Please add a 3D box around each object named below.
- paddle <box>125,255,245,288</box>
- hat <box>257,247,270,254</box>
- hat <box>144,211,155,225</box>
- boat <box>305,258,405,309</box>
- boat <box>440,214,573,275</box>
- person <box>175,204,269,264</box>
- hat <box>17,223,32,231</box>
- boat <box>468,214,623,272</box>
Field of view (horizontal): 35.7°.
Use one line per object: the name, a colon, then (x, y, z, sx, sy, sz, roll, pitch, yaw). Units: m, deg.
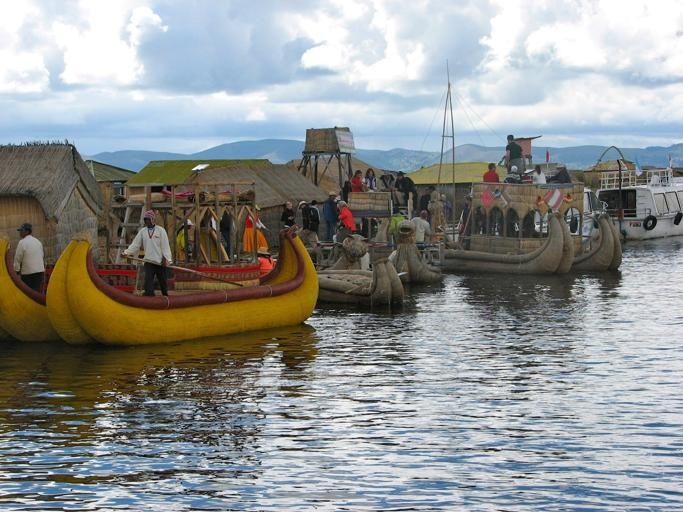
paddle: (-3.275, 0.344, 21.944, 1.829, 0.230, 0.131, 17, 33, 15)
hat: (-1.853, -0.118, 25.292, 0.353, 0.096, 0.344, 7, 5, 28)
hat: (-3.731, -0.741, 20.747, 0.247, 0.275, 0.308, 1, -8, -3)
boat: (0.398, 0.593, 25.761, 1.515, 1.201, 2.155, -9, 13, -42)
boat: (5.500, -0.246, 33.563, 5.123, 1.861, 1.698, 4, 3, 39)
person: (-2.913, -0.506, 25.252, 1.811, 1.173, 0.962, -1, 7, 16)
hat: (-6.504, -0.583, 21.757, 0.255, 0.132, 0.181, 21, 27, 19)
boat: (6.002, -0.538, 32.500, 2.241, 1.211, 3.581, 0, 2, -38)
